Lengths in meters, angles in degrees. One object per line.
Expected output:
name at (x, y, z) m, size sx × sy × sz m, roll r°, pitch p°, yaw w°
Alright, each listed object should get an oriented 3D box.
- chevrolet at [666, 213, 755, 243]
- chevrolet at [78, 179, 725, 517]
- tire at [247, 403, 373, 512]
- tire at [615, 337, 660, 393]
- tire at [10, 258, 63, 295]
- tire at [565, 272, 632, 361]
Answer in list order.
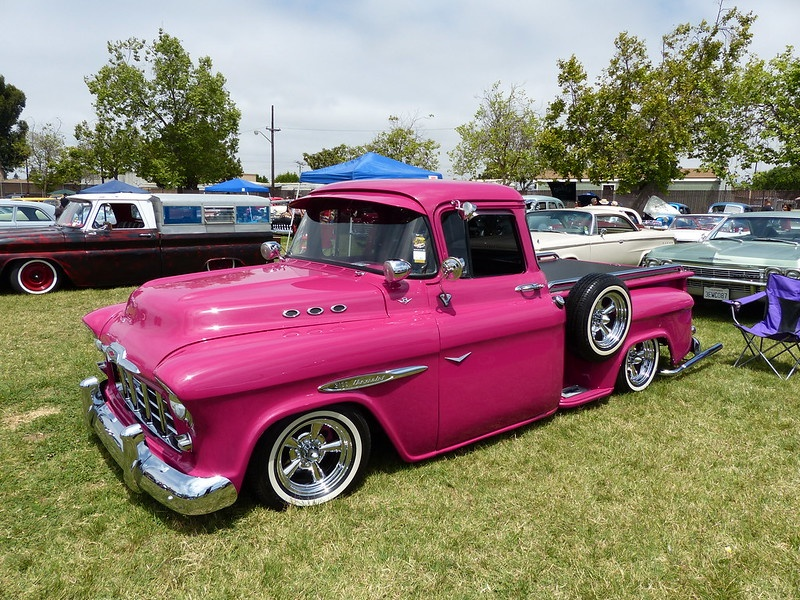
chevrolet at (6.650, -1.531, 12.353) m, size 1.560 × 0.715 × 0.889 m, roll -17°, pitch 20°, yaw -34°
chevrolet at (0.210, 0.274, 5.463) m, size 4.923 × 1.787 × 2.626 m, roll -8°, pitch 6°, yaw -33°
tire at (-0.715, 1.169, 4.345) m, size 0.753 × 0.759 × 0.247 m, roll 11°, pitch -2°, yaw -26°
tire at (2.556, 0.688, 6.248) m, size 0.587 × 0.592 × 0.207 m, roll -4°, pitch 5°, yaw -42°
tire at (-6.781, -0.447, 10.684) m, size 0.613 × 0.619 × 0.235 m, roll -5°, pitch 0°, yaw -38°
tire at (1.932, 0.175, 5.638) m, size 0.773 × 0.870 × 0.251 m, roll -7°, pitch 13°, yaw -34°
